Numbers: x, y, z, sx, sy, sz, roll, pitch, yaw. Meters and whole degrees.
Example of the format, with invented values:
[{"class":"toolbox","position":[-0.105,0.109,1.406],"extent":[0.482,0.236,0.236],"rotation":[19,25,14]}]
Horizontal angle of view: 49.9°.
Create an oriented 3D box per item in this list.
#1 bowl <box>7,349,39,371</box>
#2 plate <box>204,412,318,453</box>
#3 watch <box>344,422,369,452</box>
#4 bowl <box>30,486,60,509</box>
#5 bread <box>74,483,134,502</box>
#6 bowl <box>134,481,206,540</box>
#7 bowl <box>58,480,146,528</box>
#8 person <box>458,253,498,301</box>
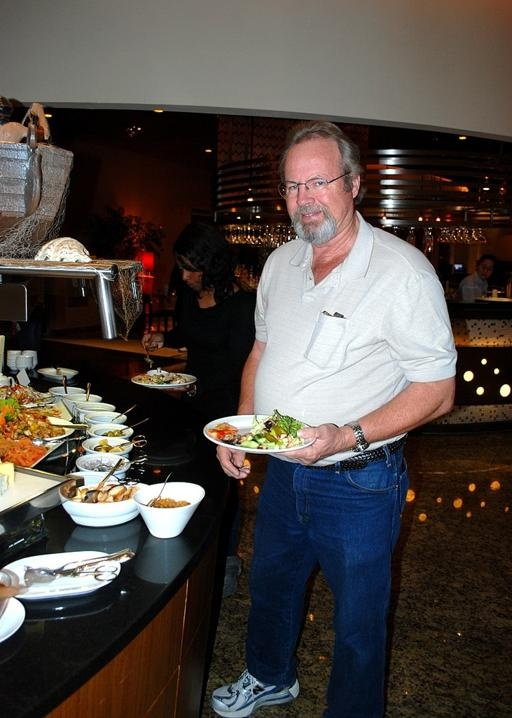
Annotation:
[{"class":"bowl","position":[-1.178,0.001,2.838],"extent":[0.188,0.121,0.160],"rotation":[2,2,45]},{"class":"plate","position":[-0.006,0.194,1.394],"extent":[0.178,0.026,0.174],"rotation":[9,16,26]},{"class":"watch","position":[0.262,0.199,1.407],"extent":[0.057,0.076,0.082],"rotation":[-10,9,-11]},{"class":"bowl","position":[-0.416,0.276,1.099],"extent":[0.041,0.022,0.038],"rotation":[0,11,0]},{"class":"bread","position":[-0.331,0.295,1.213],"extent":[0.064,0.015,0.060],"rotation":[-2,4,-35]},{"class":"bowl","position":[-0.193,0.328,1.184],"extent":[0.161,0.083,0.154],"rotation":[4,5,0]},{"class":"bowl","position":[-0.337,0.322,1.217],"extent":[0.185,0.062,0.182],"rotation":[3,-3,0]},{"class":"person","position":[3.001,-1.117,7.545],"extent":[0.397,0.625,0.720],"rotation":[5,9,18]}]
